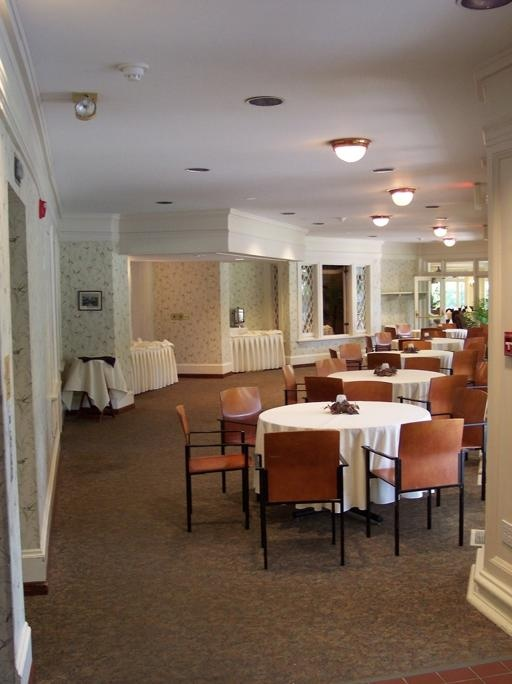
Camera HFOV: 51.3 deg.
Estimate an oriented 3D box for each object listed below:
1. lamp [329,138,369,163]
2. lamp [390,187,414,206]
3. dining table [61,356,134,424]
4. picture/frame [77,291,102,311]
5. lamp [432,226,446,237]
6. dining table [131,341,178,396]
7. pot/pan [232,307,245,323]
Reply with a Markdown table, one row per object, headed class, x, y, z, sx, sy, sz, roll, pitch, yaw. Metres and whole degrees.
| class | x | y | z | sx | sy | sz | roll | pitch | yaw |
| --- | --- | --- | --- | --- | --- | --- | --- | --- | --- |
| lamp | 0.765 | -1.566 | 4.340 | 0.348 | 0.194 | 0.268 | -2 | 0 | 10 |
| lamp | 1.870 | -1.881 | 6.814 | 0.318 | 0.227 | 0.415 | -2 | 0 | 14 |
| dining table | -2.383 | 0.706 | 8.116 | 1.007 | 0.875 | 0.853 | 0 | -2 | -3 |
| picture/frame | -2.586 | -0.646 | 8.294 | 0.322 | 0.299 | 0.031 | 0 | -2 | -7 |
| lamp | 4.084 | -2.478 | 11.786 | 0.330 | 0.219 | 0.319 | -3 | 3 | -18 |
| dining table | -1.986 | 0.471 | 10.380 | 0.657 | 0.593 | 1.067 | 0 | 3 | 12 |
| pot/pan | -0.441 | -0.641 | 13.327 | 0.346 | 0.434 | 0.588 | -2 | 0 | -3 |
